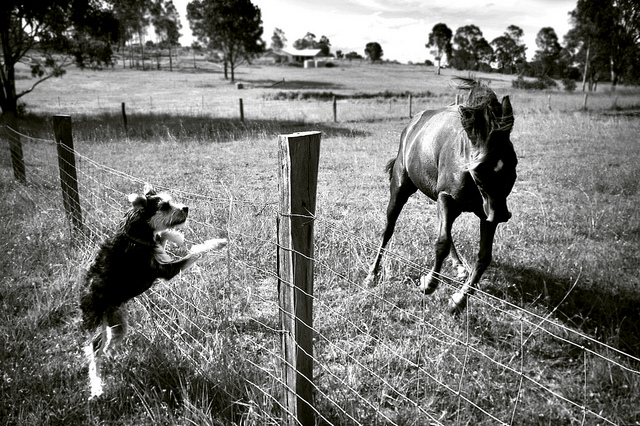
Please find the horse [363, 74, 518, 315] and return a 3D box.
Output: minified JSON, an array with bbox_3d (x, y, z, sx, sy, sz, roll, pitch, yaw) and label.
[{"bbox_3d":[2.765,-0.428,15.341,1.763,5.168,7.007,-1,4,-10],"label":"horse"}]
